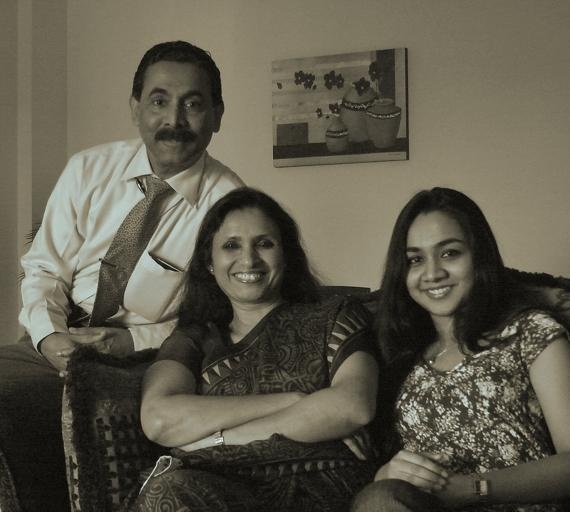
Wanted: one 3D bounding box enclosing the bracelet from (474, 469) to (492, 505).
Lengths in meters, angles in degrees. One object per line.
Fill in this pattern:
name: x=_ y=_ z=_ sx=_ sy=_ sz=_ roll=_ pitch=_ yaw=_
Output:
bracelet: x=0.330 y=0.388 z=1.190 sx=0.030 sy=0.039 sz=0.026 roll=-1 pitch=7 yaw=8
